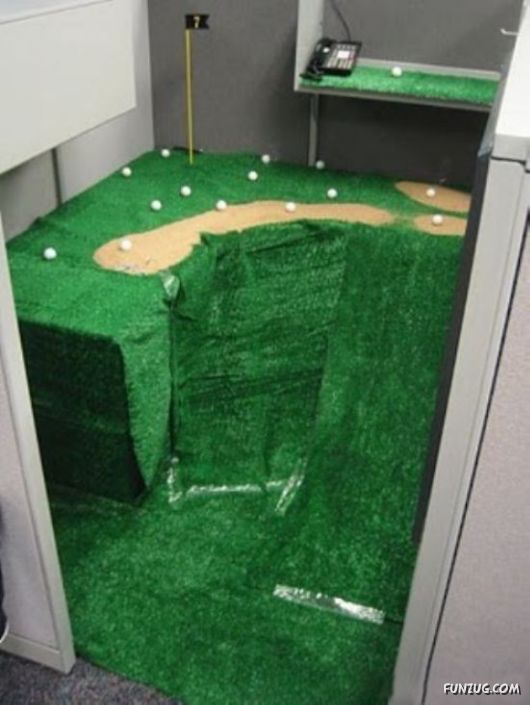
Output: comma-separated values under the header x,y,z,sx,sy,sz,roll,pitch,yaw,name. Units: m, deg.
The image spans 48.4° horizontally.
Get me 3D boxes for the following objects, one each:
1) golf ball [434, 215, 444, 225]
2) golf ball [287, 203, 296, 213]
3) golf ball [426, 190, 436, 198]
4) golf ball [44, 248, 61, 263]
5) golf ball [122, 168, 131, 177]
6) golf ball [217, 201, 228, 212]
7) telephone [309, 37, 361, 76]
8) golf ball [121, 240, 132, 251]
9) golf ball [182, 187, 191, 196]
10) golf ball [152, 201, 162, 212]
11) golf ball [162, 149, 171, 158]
x,y,z,sx,sy,sz,roll,pitch,yaw,name
0.673,-0.517,2.320,0.042,0.045,0.044,7,3,0,golf ball
0.101,-0.576,2.344,0.023,0.044,0.044,0,17,1,golf ball
0.723,-0.694,2.581,0.031,0.032,0.038,23,16,7,golf ball
-0.696,-0.324,1.934,0.049,0.049,0.047,6,31,-3,golf ball
-0.608,-0.799,2.626,0.045,0.046,0.044,0,12,0,golf ball
-0.176,-0.581,2.319,0.039,0.022,0.040,-7,51,9,golf ball
0.298,-1.300,2.596,0.219,0.127,0.259,7,33,5,telephone
-0.472,-0.361,1.997,0.025,0.030,0.025,1,57,-2,golf ball
-0.335,-0.671,2.468,0.040,0.041,0.022,20,17,23,golf ball
-0.424,-0.566,2.301,0.037,0.038,0.044,-16,15,-10,golf ball
-0.478,-0.975,2.885,0.041,0.051,0.042,-4,22,1,golf ball
